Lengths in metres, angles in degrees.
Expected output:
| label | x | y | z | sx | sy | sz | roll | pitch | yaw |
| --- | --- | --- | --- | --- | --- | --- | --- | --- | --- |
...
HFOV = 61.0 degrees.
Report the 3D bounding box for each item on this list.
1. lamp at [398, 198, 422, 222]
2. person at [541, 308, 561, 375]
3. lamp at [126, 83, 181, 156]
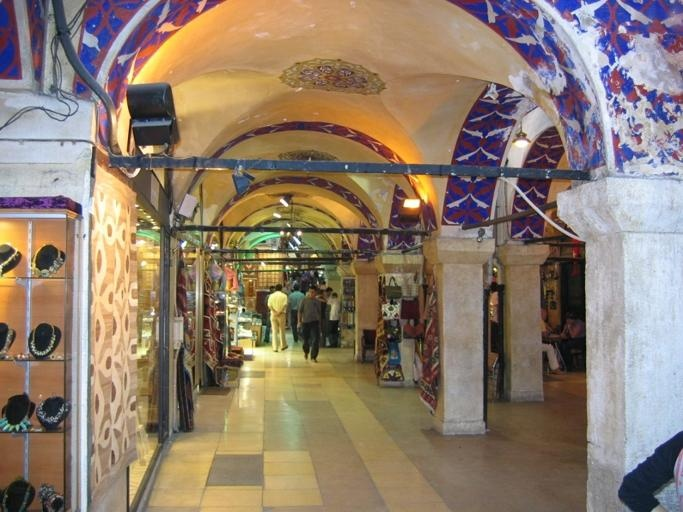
| label | x | y | z | sx | sy | sz | roll | pitch | yaw |
| --- | --- | --- | --- | --- | --- | --- | --- | --- | --- |
| lamp | 1.184 | -0.839 | 10.128 | 0.361 | 0.434 | 0.612 | -2 | -3 | 5 |
| person | 5.226 | 2.284 | 14.454 | 0.407 | 1.187 | 1.126 | -3 | -3 | 19 |
| lamp | -1.426 | -1.062 | 4.458 | 0.258 | 0.474 | 0.354 | -7 | 14 | -6 |
